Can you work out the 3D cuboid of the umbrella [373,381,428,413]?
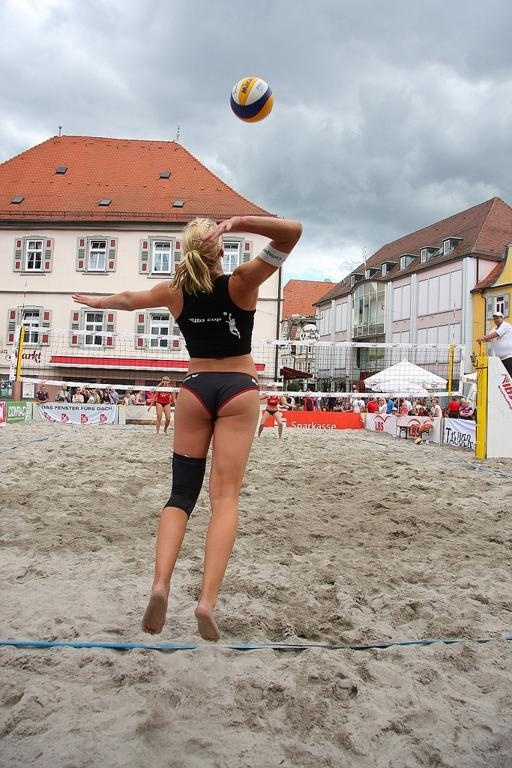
[{"bbox_3d":[3.885,0.279,15.269,1.255,0.802,2.108,3,-2,8],"label":"umbrella"}]

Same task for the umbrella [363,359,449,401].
[{"bbox_3d":[4.260,-0.071,15.630,1.212,1.106,2.218,7,3,-23],"label":"umbrella"}]

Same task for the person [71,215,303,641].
[{"bbox_3d":[-0.333,0.104,2.138,0.975,1.556,0.337,0,-8,15],"label":"person"}]
